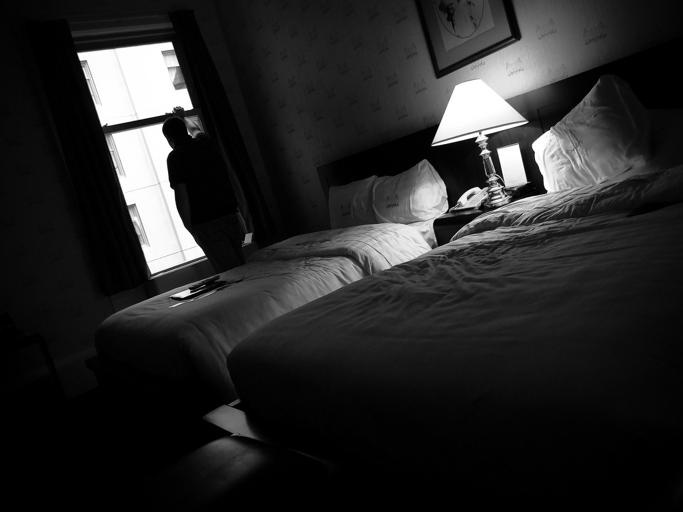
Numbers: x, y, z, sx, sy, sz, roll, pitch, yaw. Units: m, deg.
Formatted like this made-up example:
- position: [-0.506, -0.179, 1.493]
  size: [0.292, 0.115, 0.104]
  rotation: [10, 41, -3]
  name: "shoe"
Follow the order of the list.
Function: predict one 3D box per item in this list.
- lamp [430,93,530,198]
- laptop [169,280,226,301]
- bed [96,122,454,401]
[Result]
- position: [0.873, -0.649, 3.007]
  size: [0.489, 0.650, 0.508]
  rotation: [-14, 5, 30]
  name: "lamp"
- position: [-0.805, 0.184, 2.885]
  size: [0.135, 0.045, 0.250]
  rotation: [2, 16, 45]
  name: "laptop"
- position: [-0.354, -0.257, 3.020]
  size: [1.321, 0.947, 1.965]
  rotation: [-4, 12, 46]
  name: "bed"
